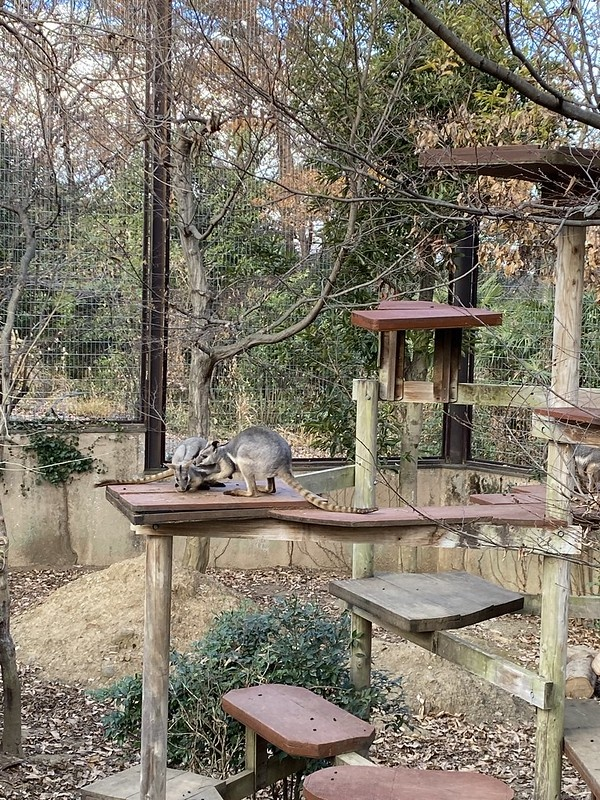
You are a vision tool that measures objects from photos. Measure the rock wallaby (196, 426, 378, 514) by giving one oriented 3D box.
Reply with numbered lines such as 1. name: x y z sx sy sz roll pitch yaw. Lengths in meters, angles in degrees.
1. rock wallaby: -0.114 0.295 4.724 0.895 0.325 0.226 6 9 32

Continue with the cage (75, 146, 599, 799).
1. cage: 0.503 0.292 6.565 3.260 4.396 3.160 0 5 -5
